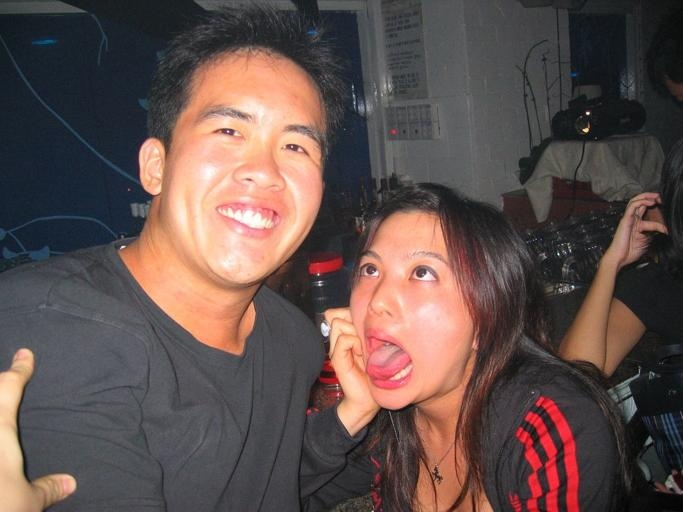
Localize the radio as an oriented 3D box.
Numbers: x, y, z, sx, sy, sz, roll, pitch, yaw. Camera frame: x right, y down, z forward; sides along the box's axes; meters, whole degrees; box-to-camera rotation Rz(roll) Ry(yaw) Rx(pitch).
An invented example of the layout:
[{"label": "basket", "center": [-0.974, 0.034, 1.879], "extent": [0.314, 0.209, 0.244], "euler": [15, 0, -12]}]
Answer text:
[{"label": "radio", "center": [2.186, -1.166, 4.852], "extent": [0.752, 0.400, 0.349], "euler": [1, 9, -18]}]
